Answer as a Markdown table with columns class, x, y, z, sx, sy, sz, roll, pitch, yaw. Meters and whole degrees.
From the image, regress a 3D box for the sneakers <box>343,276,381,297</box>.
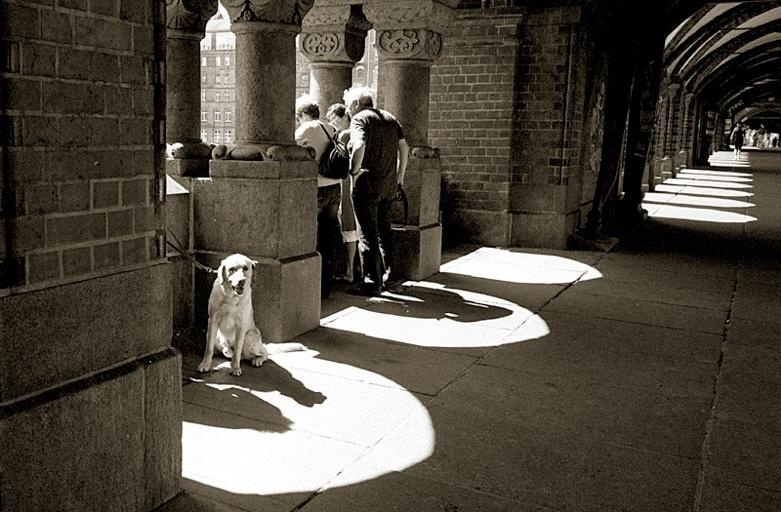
| class | x | y | z | sx | sy | sz | roll | pitch | yaw |
| --- | --- | --- | --- | --- | --- | --- | --- | --- | --- |
| sneakers | -0.262 | 0.371 | 7.915 | 0.284 | 0.103 | 0.279 | 5 | 13 | 17 |

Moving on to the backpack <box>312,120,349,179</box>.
| class | x | y | z | sx | sy | sz | roll | pitch | yaw |
| --- | --- | --- | --- | --- | --- | --- | --- | --- | --- |
| backpack | -0.665 | -1.177 | 7.279 | 0.383 | 0.616 | 0.323 | -2 | 13 | -19 |

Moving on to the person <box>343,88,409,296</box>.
| class | x | y | z | sx | sy | sz | roll | pitch | yaw |
| --- | --- | --- | --- | --- | --- | --- | --- | --- | --- |
| person | -0.206 | -0.771 | 7.775 | 0.477 | 2.462 | 1.026 | 9 | 14 | 34 |

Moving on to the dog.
| class | x | y | z | sx | sy | sz | roll | pitch | yaw |
| --- | --- | --- | --- | --- | --- | --- | --- | --- | --- |
| dog | -1.298 | 0.430 | 5.538 | 0.524 | 1.008 | 0.700 | 5 | 13 | 16 |
